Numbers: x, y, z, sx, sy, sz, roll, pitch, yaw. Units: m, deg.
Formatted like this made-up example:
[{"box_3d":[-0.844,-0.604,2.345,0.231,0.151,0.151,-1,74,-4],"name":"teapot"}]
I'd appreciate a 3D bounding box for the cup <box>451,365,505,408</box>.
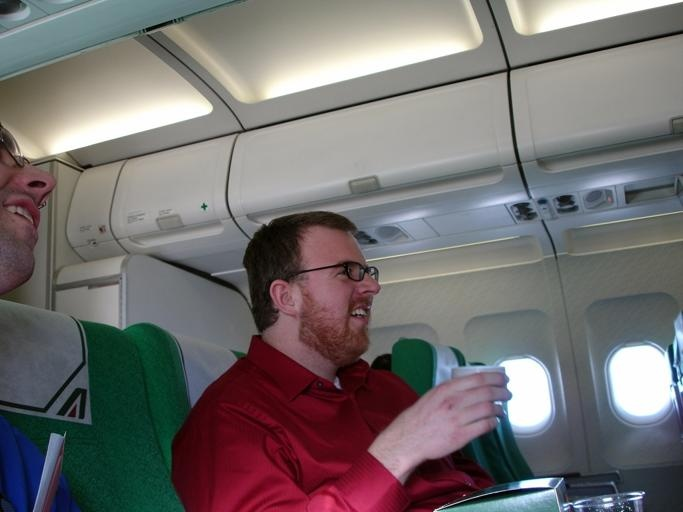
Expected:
[{"box_3d":[0.409,0.401,1.469,0.150,0.115,0.150,-2,-11,0],"name":"cup"}]
